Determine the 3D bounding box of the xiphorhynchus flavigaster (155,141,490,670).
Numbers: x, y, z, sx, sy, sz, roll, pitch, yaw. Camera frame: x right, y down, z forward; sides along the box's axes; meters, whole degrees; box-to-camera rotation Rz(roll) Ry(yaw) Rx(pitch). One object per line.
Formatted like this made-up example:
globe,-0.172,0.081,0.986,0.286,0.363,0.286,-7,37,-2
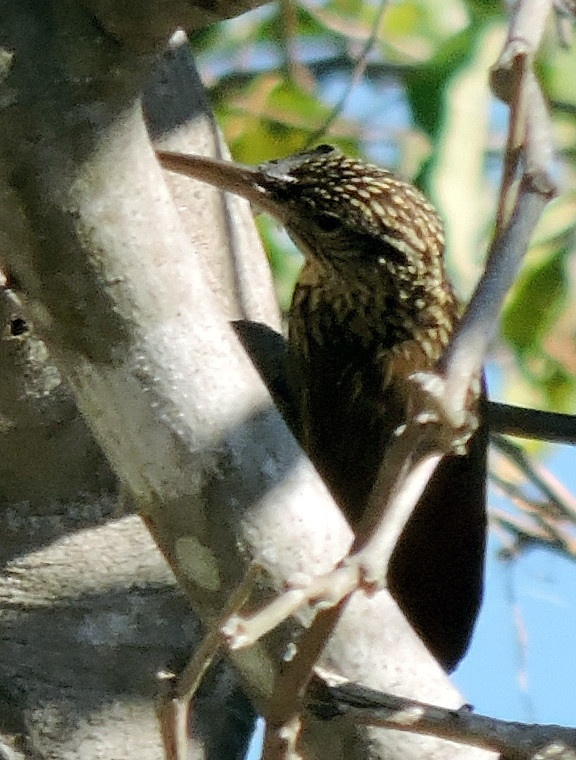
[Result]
xiphorhynchus flavigaster,0.079,0.006,2.878,0.560,0.741,0.245,14,37,3
